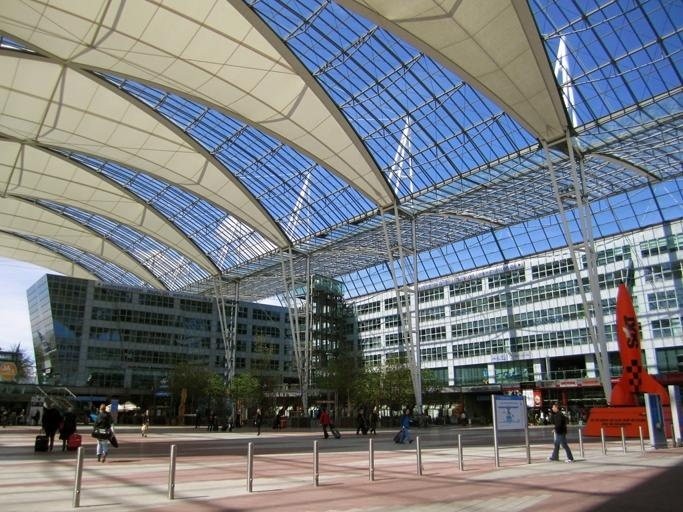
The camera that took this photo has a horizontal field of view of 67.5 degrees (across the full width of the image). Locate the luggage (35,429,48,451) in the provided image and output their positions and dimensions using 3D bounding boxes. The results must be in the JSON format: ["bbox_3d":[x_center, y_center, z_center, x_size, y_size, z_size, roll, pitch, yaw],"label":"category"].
[{"bbox_3d":[-12.383,7.704,21.096,0.491,0.652,0.640,7,-20,-27],"label":"luggage"}]

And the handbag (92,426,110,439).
[{"bbox_3d":[-8.509,6.229,18.053,0.445,0.344,0.567,8,-8,-22],"label":"handbag"}]

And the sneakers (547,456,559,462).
[{"bbox_3d":[7.456,7.158,18.027,0.565,0.198,0.175,4,-11,-14],"label":"sneakers"}]

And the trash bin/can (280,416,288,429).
[{"bbox_3d":[-5.289,15.285,46.896,0.633,0.953,1.286,0,-17,-8],"label":"trash bin/can"}]
